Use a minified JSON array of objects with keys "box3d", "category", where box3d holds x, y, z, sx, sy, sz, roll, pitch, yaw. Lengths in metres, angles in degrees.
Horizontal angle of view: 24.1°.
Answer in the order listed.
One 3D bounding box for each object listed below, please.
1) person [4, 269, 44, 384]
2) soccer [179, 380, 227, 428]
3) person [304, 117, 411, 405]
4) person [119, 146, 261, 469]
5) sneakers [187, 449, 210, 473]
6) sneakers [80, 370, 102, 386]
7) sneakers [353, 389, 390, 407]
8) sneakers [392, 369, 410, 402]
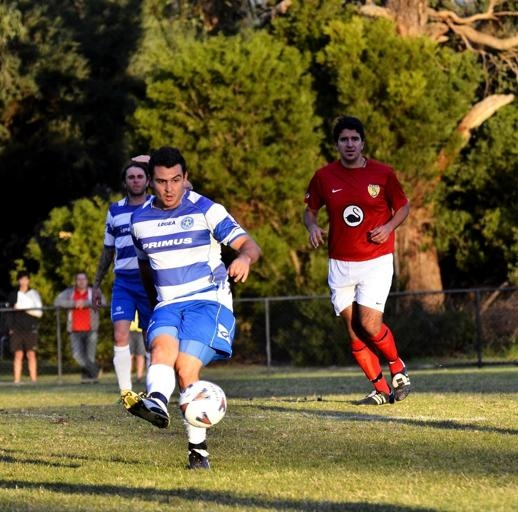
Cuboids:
[{"box3d":[-3.609,1.131,18.834,0.537,1.733,0.916,-3,3,-12],"category":"person"},{"box3d":[-0.500,1.293,10.591,0.371,0.421,0.378,-16,-14,-19],"category":"soccer"},{"box3d":[1.091,0.073,13.195,1.080,3.177,0.721,-2,3,6],"category":"person"},{"box3d":[-0.632,0.431,10.781,1.065,2.823,1.102,-3,3,-1],"category":"person"},{"box3d":[-0.534,1.793,10.517,0.179,0.284,0.149,1,-1,21],"category":"sneakers"},{"box3d":[-2.611,1.914,18.668,0.206,0.231,0.198,-2,-4,20],"category":"sneakers"},{"box3d":[1.256,1.570,13.274,0.376,0.172,0.160,0,-5,-23],"category":"sneakers"},{"box3d":[1.546,1.469,13.393,0.138,0.407,0.153,-11,-31,28],"category":"sneakers"}]
